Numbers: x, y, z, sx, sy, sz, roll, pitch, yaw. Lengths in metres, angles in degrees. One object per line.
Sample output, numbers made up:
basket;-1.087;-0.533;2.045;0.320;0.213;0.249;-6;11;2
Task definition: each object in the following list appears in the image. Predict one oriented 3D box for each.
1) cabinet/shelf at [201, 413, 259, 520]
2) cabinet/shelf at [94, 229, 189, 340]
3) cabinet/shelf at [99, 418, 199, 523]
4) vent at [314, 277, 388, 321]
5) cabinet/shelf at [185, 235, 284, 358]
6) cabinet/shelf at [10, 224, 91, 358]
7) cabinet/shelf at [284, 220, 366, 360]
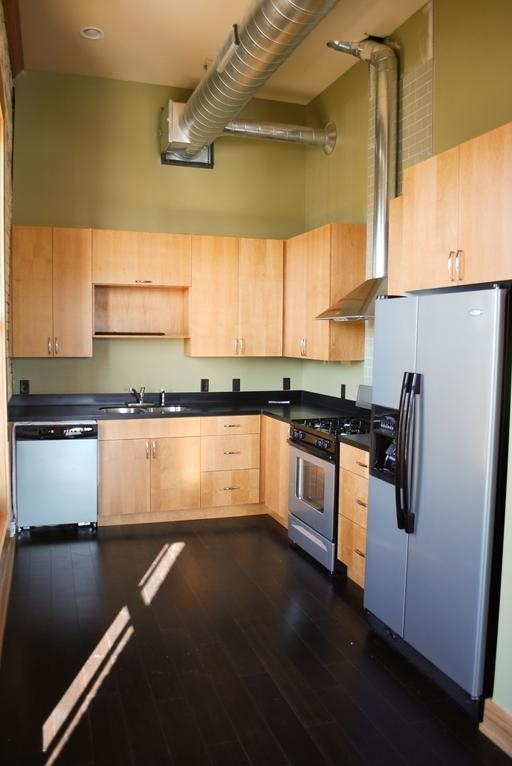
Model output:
cabinet/shelf;-0.200;0.617;4.182;0.514;1.005;0.588;0;-2;-15
cabinet/shelf;-0.927;-0.794;4.271;0.709;0.985;0.438;0;2;-23
cabinet/shelf;-0.782;0.535;4.091;0.699;0.804;0.289;-1;23;-11
vent;0.612;-0.487;3.234;0.296;0.138;0.241;-1;-2;-20
cabinet/shelf;-0.204;-0.715;4.395;0.737;1.216;0.365;0;5;-14
cabinet/shelf;-1.518;-0.558;4.097;0.550;1.167;0.381;-2;-25;-19
cabinet/shelf;0.456;-0.654;4.179;0.230;0.990;0.815;-2;5;-24
